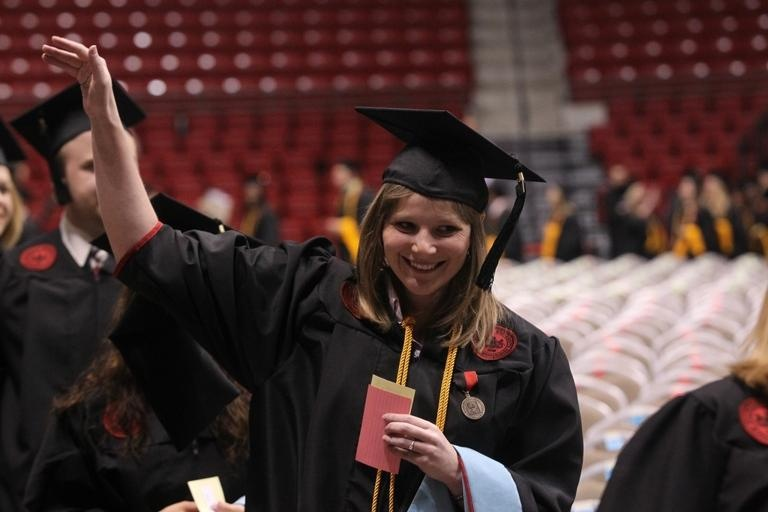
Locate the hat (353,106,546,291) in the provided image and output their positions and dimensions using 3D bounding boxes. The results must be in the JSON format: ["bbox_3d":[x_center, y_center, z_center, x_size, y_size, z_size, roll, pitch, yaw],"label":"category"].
[{"bbox_3d":[0.290,-0.304,5.543,1.266,0.805,1.060,16,-2,-38],"label":"hat"}]

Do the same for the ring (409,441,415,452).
[{"bbox_3d":[0.147,1.000,5.027,0.028,0.061,0.020,0,-2,1],"label":"ring"}]
